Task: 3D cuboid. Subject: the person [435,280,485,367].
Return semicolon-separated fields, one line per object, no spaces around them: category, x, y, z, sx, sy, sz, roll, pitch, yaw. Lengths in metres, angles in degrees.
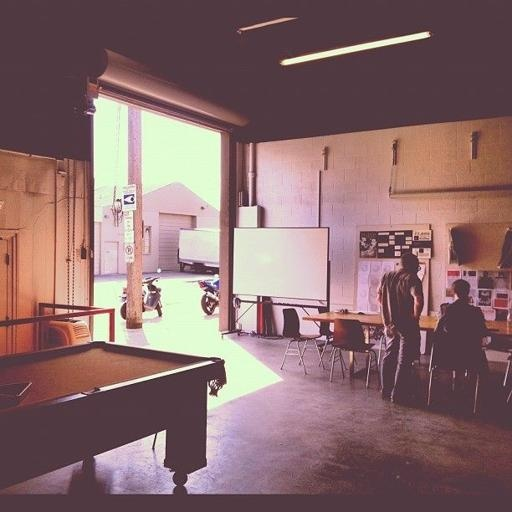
person;1.918;0.648;4.417;0.442;0.844;0.170;2;3;29

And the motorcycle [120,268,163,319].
motorcycle;-2.382;0.843;9.648;0.622;0.887;1.154;0;3;26

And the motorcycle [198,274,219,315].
motorcycle;-1.033;0.897;10.427;0.425;0.746;1.031;0;2;-6

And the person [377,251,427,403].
person;1.488;0.714;4.866;0.410;1.483;0.464;1;3;14

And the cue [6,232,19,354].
cue;-2.523;0.370;4.871;0.125;1.259;0.076;-2;3;-40
